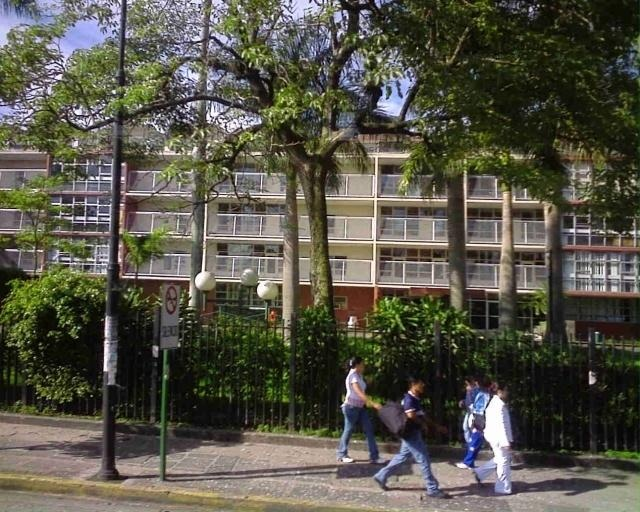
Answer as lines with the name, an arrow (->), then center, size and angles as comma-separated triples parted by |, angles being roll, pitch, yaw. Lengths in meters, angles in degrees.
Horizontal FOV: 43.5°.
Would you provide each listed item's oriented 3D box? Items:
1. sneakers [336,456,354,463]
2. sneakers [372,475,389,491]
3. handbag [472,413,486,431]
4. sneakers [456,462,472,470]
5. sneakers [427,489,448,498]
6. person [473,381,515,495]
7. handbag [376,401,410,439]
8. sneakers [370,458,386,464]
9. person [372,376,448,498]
sneakers -> 0.461, 3.803, 15.004 | 0.297, 0.125, 0.112 | -1, -8, 7
sneakers -> 1.033, 3.894, 13.748 | 0.086, 0.272, 0.203 | -32, 19, -31
handbag -> 2.774, 2.959, 14.343 | 0.230, 0.245, 0.280 | -5, 0, -5
sneakers -> 2.632, 3.897, 14.889 | 0.093, 0.096, 0.248 | 11, -9, -28
sneakers -> 1.986, 4.015, 13.518 | 0.306, 0.127, 0.172 | 1, -14, 4
person -> 3.069, 3.132, 14.067 | 0.626, 1.814, 1.284 | 2, 8, 13
handbag -> 1.215, 2.735, 13.475 | 0.267, 0.545, 0.518 | -6, 10, -37
sneakers -> 1.081, 3.810, 14.913 | 0.278, 0.111, 0.117 | 0, -7, -5
person -> 1.589, 3.056, 13.999 | 1.179, 1.915, 1.368 | 1, 8, 7
